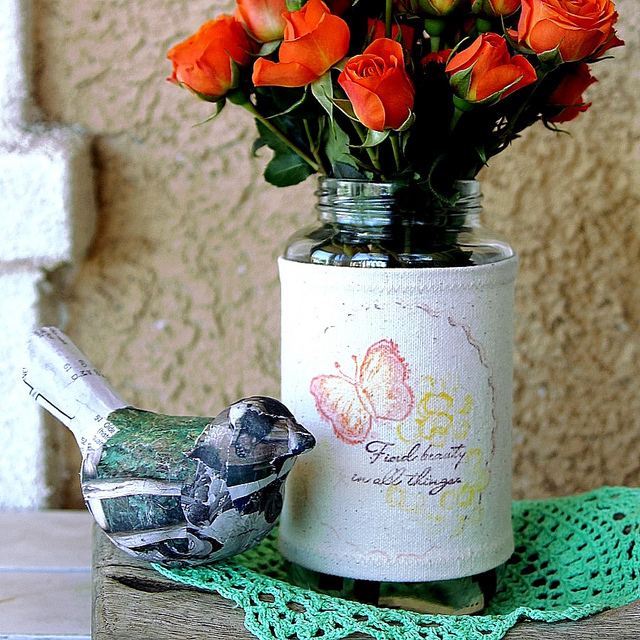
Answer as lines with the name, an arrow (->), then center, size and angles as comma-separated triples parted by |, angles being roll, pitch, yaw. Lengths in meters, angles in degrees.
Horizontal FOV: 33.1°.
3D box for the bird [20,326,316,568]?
bird -> -0.131, 0.086, 0.779 | 0.251, 0.172, 0.125 | 0, 96, -16
